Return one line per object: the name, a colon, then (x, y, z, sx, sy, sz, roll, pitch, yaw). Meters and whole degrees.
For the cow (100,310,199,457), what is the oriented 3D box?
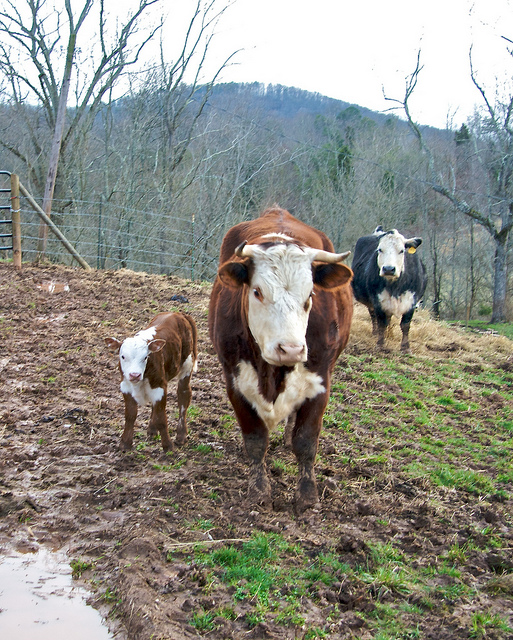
cow: (-0.869, 0.508, 5.643, 0.687, 1.145, 1.183, 2, 2, -4)

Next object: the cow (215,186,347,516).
cow: (0.127, 0.241, 4.953, 1.020, 2.229, 1.902, 2, 2, 5)
